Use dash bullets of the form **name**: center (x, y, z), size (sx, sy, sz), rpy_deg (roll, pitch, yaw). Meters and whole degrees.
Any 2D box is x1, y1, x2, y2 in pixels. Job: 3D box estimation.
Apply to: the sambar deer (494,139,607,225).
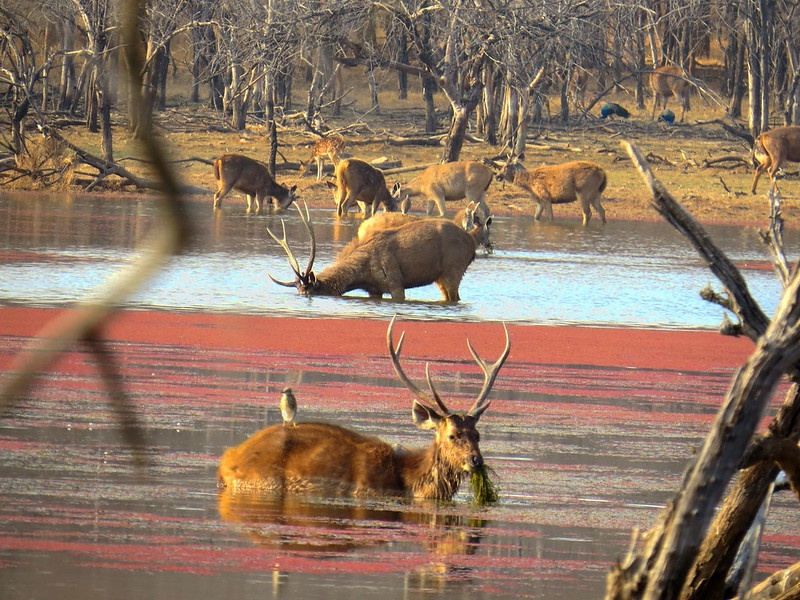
- **sambar deer**: center (3.973, -2.610, 50.219), size (0.991, 1.724, 3.366), rpy_deg (-6, 17, -31)
